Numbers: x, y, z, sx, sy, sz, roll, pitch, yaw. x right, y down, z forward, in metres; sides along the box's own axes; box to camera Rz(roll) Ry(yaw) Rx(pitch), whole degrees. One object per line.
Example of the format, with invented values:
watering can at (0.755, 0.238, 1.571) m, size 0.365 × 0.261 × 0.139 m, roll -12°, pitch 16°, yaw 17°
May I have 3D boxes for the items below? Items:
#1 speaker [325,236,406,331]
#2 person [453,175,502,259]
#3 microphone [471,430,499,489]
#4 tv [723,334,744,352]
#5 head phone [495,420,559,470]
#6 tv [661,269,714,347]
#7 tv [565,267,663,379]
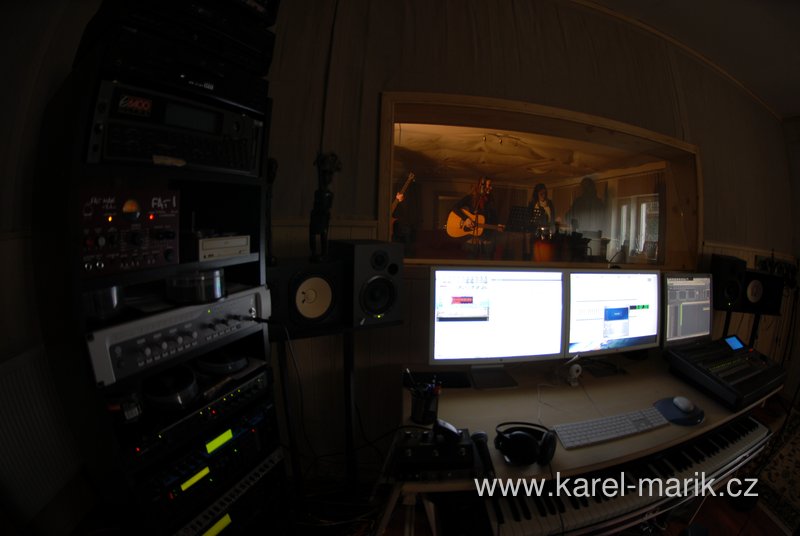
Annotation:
speaker at (-0.154, 0.066, 2.870) m, size 0.389 × 0.569 × 0.399 m, roll -1°, pitch 4°, yaw -35°
person at (0.579, -0.399, 4.164) m, size 0.403 × 0.592 × 1.030 m, roll 2°, pitch 5°, yaw 6°
microphone at (0.394, 0.896, 2.644) m, size 0.099 × 0.208 × 0.158 m, roll 1°, pitch 5°, yaw -9°
tv at (2.000, 0.448, 3.358) m, size 0.098 × 0.070 × 0.144 m, roll 6°, pitch 7°, yaw 44°
head phone at (0.607, 0.863, 2.768) m, size 0.314 × 0.156 × 0.340 m, roll 13°, pitch -5°, yaw -36°
tv at (1.689, 0.244, 3.320) m, size 0.433 × 0.432 × 0.043 m, roll -1°, pitch 2°, yaw -29°
tv at (1.196, 0.295, 3.167) m, size 0.590 × 0.448 × 0.050 m, roll -2°, pitch 1°, yaw -20°
